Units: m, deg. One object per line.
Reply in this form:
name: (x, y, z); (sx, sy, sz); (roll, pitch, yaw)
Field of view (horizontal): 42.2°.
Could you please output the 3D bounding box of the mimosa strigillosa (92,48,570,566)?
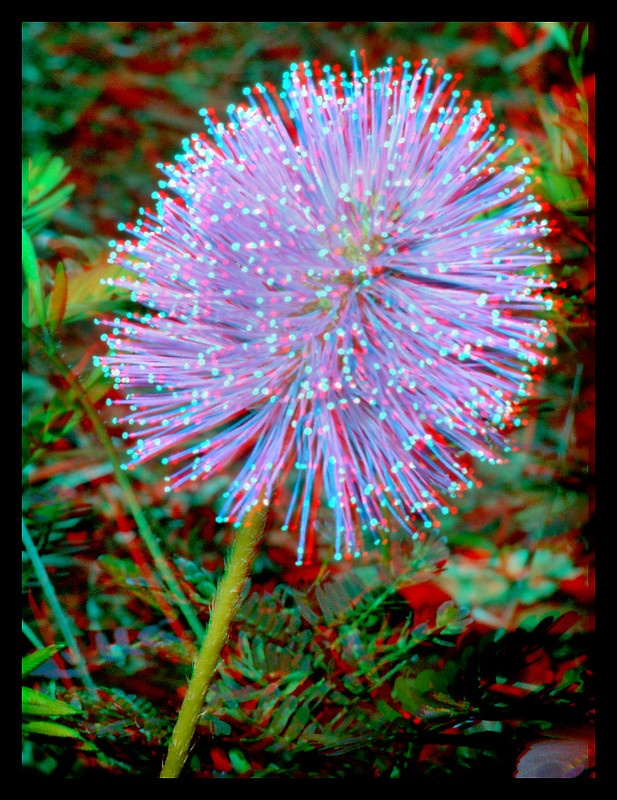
mimosa strigillosa: (0.019, -0.090, 1.064); (0.594, 0.586, 0.482); (9, -85, 1)
